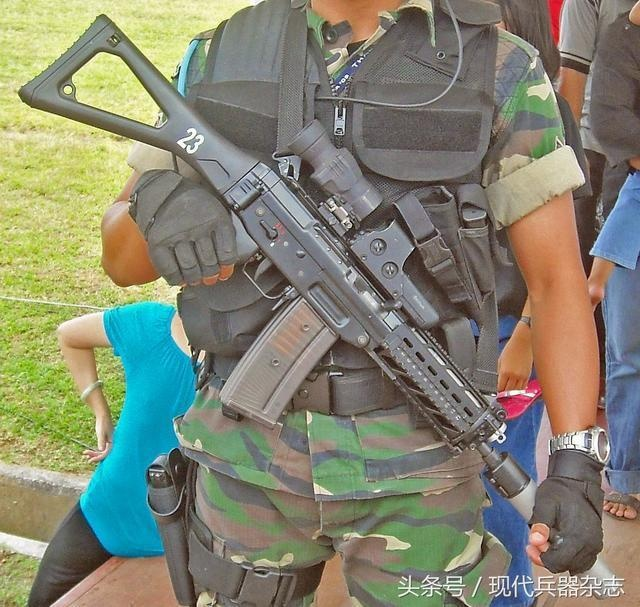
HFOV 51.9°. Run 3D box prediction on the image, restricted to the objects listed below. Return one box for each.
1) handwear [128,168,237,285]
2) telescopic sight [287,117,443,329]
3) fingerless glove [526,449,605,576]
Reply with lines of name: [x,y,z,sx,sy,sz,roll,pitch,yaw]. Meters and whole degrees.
handwear: [-0.235,-0.125,1.151,0.178,0.199,0.066,-16,-2,4]
telescopic sight: [0.083,-0.156,1.178,0.105,0.439,0.140,-46,4,5]
fingerless glove: [0.430,0.361,1.152,0.135,0.079,0.210,21,59,0]
